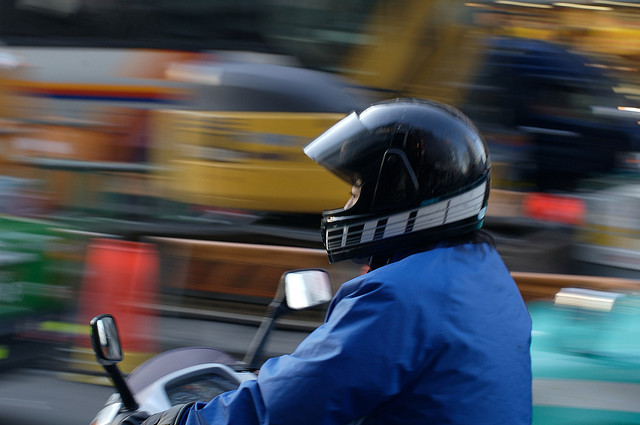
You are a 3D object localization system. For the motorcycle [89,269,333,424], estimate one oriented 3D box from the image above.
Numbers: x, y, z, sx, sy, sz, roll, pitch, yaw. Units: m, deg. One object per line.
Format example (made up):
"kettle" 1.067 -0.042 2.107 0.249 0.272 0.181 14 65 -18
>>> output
"motorcycle" -0.863 1.029 7.817 1.760 1.109 0.596 -5 21 -32
